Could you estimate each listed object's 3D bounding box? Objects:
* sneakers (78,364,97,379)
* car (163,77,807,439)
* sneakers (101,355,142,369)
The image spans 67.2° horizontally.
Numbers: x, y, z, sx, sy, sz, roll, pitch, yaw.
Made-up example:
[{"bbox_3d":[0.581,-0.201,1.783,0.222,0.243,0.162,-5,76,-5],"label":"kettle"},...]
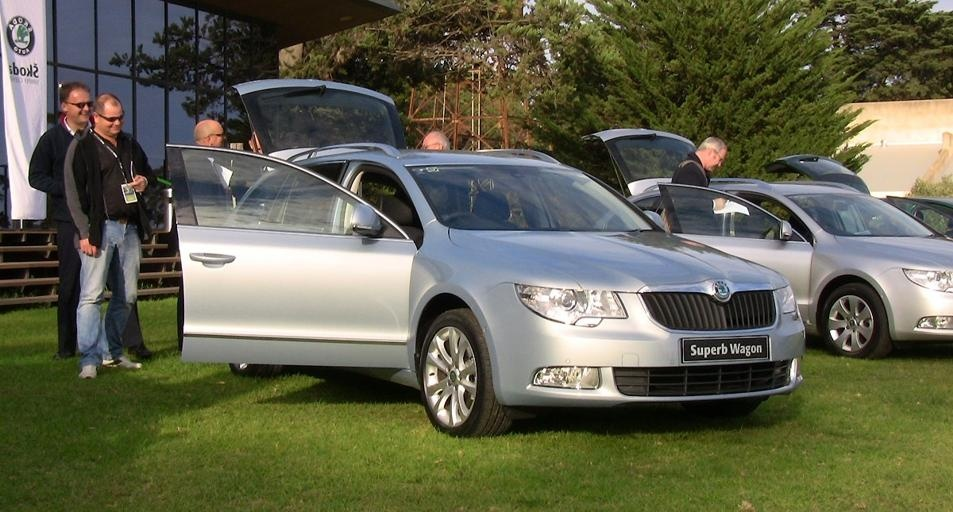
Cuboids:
[{"bbox_3d":[-5.008,1.492,9.274,0.210,0.179,0.320,-6,14,-26],"label":"sneakers"},{"bbox_3d":[-0.090,0.300,7.843,6.251,2.864,1.796,3,13,10],"label":"car"},{"bbox_3d":[-4.798,1.442,9.843,0.593,0.245,0.194,0,-2,-4],"label":"sneakers"}]
